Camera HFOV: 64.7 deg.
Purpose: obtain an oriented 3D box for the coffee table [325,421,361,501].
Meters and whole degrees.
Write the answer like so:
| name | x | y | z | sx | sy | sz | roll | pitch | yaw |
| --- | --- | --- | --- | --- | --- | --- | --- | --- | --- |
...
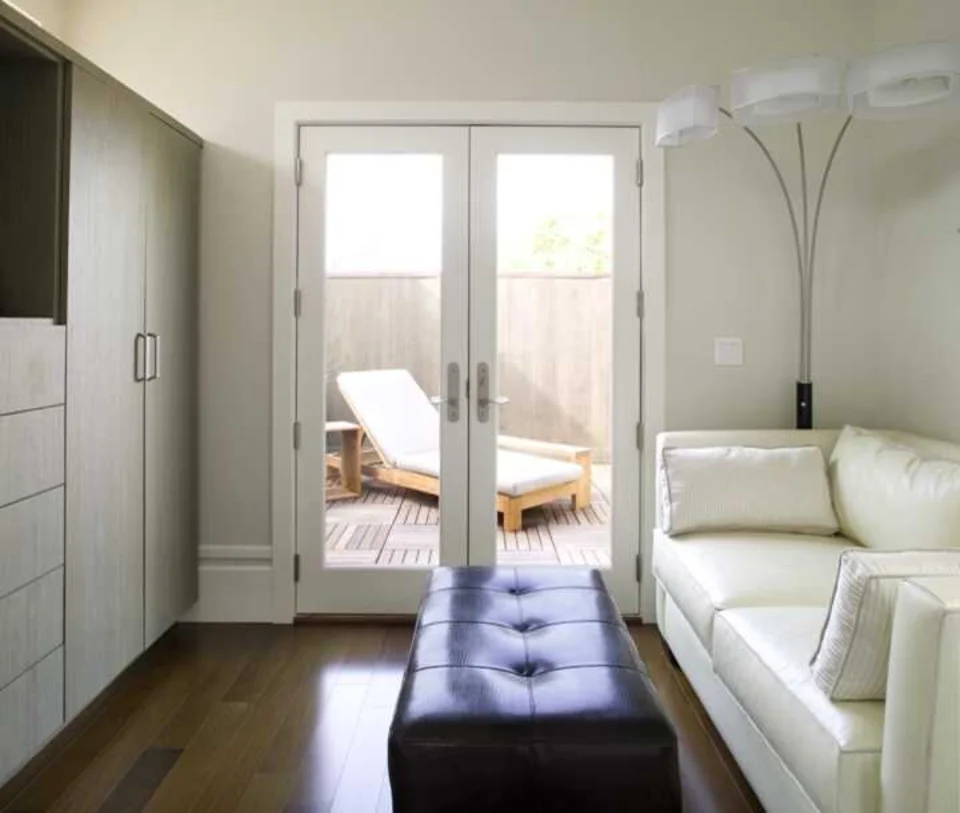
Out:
| name | x | y | z | sx | sy | sz | roll | pitch | yaw |
| --- | --- | --- | --- | --- | --- | --- | --- | --- | --- |
| coffee table | -0.584 | 0.246 | 3.338 | 0.186 | 0.413 | 0.287 | 1 | 4 | -9 |

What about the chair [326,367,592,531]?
| name | x | y | z | sx | sy | sz | roll | pitch | yaw |
| --- | --- | --- | --- | --- | --- | --- | --- | --- | --- |
| chair | -0.080 | 0.129 | 3.308 | 0.969 | 0.584 | 0.617 | 8 | 13 | 33 |

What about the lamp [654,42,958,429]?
| name | x | y | z | sx | sy | sz | roll | pitch | yaw |
| --- | --- | --- | --- | --- | --- | --- | --- | --- | --- |
| lamp | 1.138 | -0.560 | 2.830 | 0.874 | 1.392 | 1.015 | 3 | 9 | 19 |
